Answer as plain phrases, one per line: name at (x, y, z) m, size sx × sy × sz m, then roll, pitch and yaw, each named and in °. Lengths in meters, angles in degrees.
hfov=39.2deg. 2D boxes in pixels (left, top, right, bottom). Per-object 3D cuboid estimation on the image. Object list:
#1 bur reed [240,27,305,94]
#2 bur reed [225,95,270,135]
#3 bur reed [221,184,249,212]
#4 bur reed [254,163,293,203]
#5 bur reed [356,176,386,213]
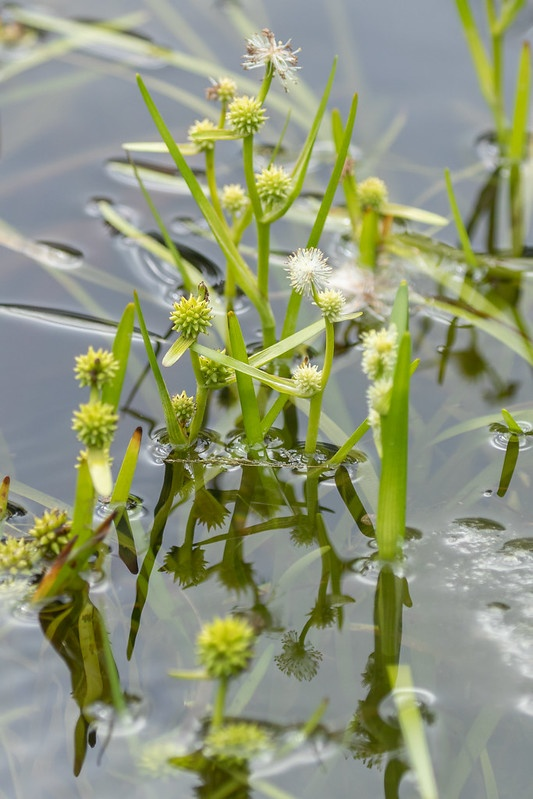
bur reed at (0.010, -0.522, 1.140) m, size 0.096 × 0.032 × 0.084 m, roll 2°, pitch -5°, yaw 11°
bur reed at (-0.037, -0.441, 1.193) m, size 0.061 × 0.062 × 0.061 m, roll 15°, pitch 46°, yaw 23°
bur reed at (-0.054, -0.375, 1.401) m, size 0.052 × 0.050 × 0.020 m, roll 1°, pitch -3°, yaw -9°
bur reed at (0.013, -0.353, 1.261) m, size 0.060 × 0.061 × 0.060 m, roll -14°, pitch 32°, yaw 11°
bur reed at (0.212, -0.411, 1.506) m, size 0.057 × 0.066 × 0.038 m, roll 0°, pitch 9°, yaw 4°
